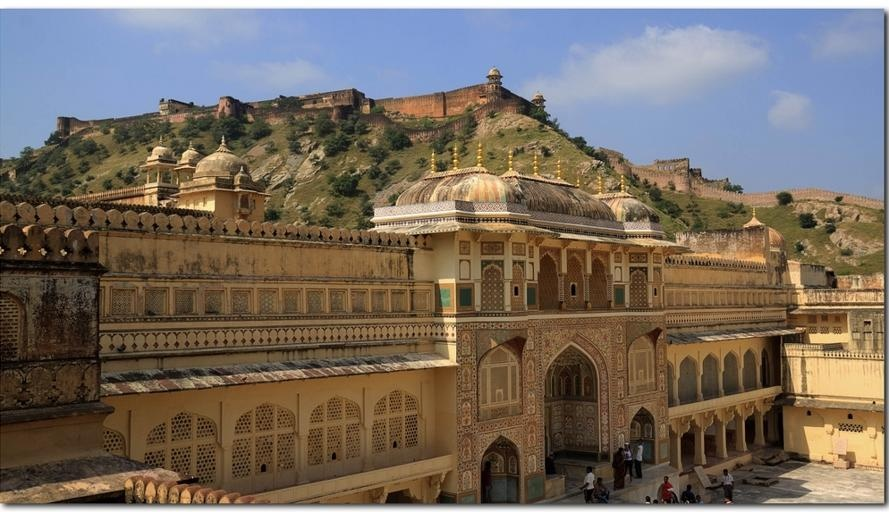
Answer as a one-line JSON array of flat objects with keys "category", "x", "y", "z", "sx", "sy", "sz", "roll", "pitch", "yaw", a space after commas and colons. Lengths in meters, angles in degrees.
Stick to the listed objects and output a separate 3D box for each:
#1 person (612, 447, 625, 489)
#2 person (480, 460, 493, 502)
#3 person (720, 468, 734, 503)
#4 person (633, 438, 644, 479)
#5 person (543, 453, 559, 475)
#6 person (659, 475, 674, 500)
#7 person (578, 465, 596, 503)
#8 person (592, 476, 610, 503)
[{"category": "person", "x": 6.507, "y": 7.829, "z": 32.338, "sx": 0.465, "sy": 1.404, "sz": 0.842, "roll": -3, "pitch": -7, "yaw": 10}, {"category": "person", "x": 1.499, "y": 7.978, "z": 30.494, "sx": 0.384, "sy": 1.210, "sz": 0.280, "roll": 0, "pitch": -7, "yaw": -6}, {"category": "person", "x": 11.559, "y": 9.226, "z": 35.335, "sx": 0.421, "sy": 1.150, "sz": 1.935, "roll": -4, "pitch": -6, "yaw": 17}, {"category": "person", "x": 7.540, "y": 7.773, "z": 33.598, "sx": 0.366, "sy": 1.245, "sz": 1.555, "roll": -3, "pitch": -6, "yaw": 14}, {"category": "person", "x": 4.107, "y": 7.798, "z": 33.030, "sx": 0.374, "sy": 0.725, "sz": 1.045, "roll": -5, "pitch": -7, "yaw": 27}, {"category": "person", "x": 8.300, "y": 8.631, "z": 32.389, "sx": 0.430, "sy": 0.814, "sz": 1.624, "roll": -3, "pitch": -6, "yaw": 11}, {"category": "person", "x": 5.206, "y": 8.125, "z": 31.215, "sx": 0.514, "sy": 1.041, "sz": 1.482, "roll": -3, "pitch": -6, "yaw": 9}, {"category": "person", "x": 5.558, "y": 8.258, "z": 30.922, "sx": 0.576, "sy": 0.799, "sz": 1.293, "roll": -3, "pitch": -6, "yaw": 14}]
